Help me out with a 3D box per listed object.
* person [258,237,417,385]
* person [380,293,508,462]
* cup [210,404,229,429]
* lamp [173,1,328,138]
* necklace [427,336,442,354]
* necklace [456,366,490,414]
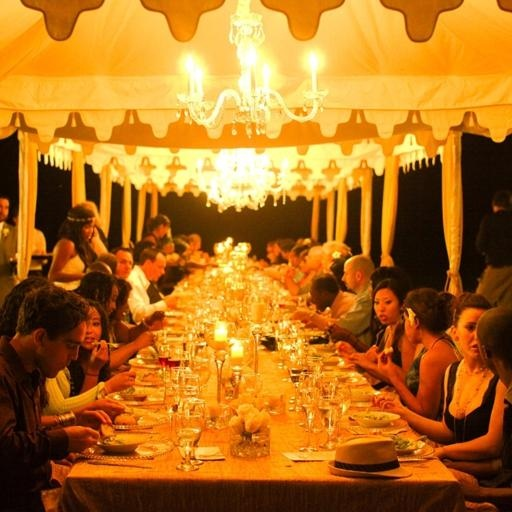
[{"bbox_3d":[0.875,0.402,5.042,0.930,1.509,0.642,3,-1,4],"label":"person"},{"bbox_3d":[0.987,0.903,3.217,0.489,1.441,0.481,-9,5,14],"label":"person"},{"bbox_3d":[-0.169,0.700,2.495,0.089,0.108,0.091,1,-3,0],"label":"cup"},{"bbox_3d":[-0.085,-0.994,3.475,0.860,1.012,0.952,0,3,-6],"label":"lamp"},{"bbox_3d":[0.950,0.472,3.062,0.066,0.036,0.092,-17,28,16],"label":"necklace"},{"bbox_3d":[0.980,0.620,2.626,0.050,0.218,0.114,24,-16,-35],"label":"necklace"}]
